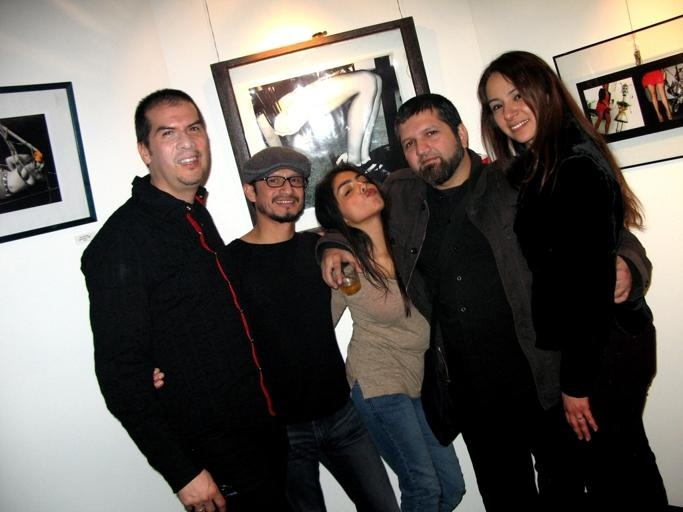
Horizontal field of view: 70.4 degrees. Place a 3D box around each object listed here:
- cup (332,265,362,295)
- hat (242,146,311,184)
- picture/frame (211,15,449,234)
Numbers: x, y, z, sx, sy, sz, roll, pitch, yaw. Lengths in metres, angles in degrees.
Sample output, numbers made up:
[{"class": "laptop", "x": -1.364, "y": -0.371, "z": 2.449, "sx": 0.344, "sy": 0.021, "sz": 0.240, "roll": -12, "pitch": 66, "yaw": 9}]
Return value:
[{"class": "cup", "x": 0.042, "y": 0.129, "z": 2.354, "sx": 0.121, "sy": 0.134, "sz": 0.120, "roll": -16, "pitch": -28, "yaw": -9}, {"class": "hat", "x": -0.363, "y": -0.483, "z": 2.593, "sx": 0.418, "sy": 0.159, "sz": 0.336, "roll": -3, "pitch": 21, "yaw": -10}, {"class": "picture/frame", "x": -0.105, "y": -0.707, "z": 2.701, "sx": 1.049, "sy": 0.964, "sz": 0.081, "roll": -18, "pitch": 7, "yaw": 0}]
